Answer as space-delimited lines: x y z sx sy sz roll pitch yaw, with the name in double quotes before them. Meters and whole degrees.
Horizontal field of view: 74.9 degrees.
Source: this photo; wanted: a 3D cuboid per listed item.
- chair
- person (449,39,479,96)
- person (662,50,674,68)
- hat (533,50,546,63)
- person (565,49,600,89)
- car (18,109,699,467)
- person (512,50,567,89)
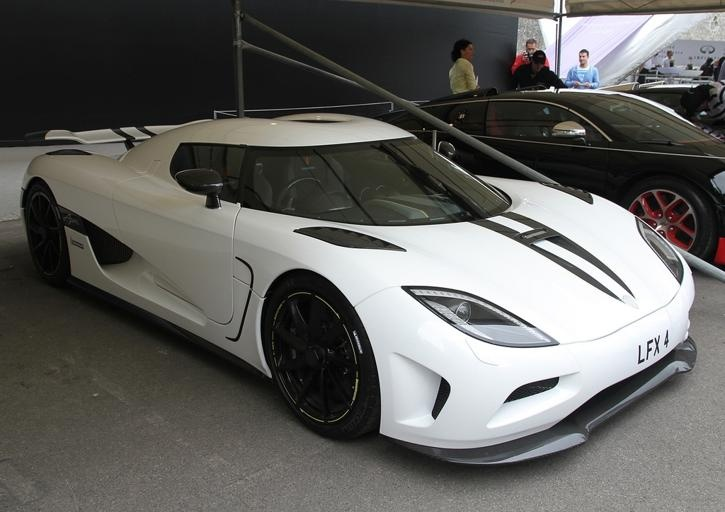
"chair" -0.363 -0.430 2.703 0.658 0.209 0.502 21 26 32
"person" 1.729 -3.323 8.047 0.361 0.865 0.678 -3 33 -22
"person" 10.617 -7.101 16.322 0.395 0.506 0.994 22 31 19
"hat" 2.936 -3.426 7.839 0.197 0.119 0.228 0 43 0
"person" 4.361 -3.762 9.185 0.583 0.704 1.144 14 29 7
"car" -0.470 -0.010 3.031 3.914 0.901 2.033 11 17 35
"person" 2.930 -3.221 7.949 0.402 0.647 0.934 -9 34 -29
